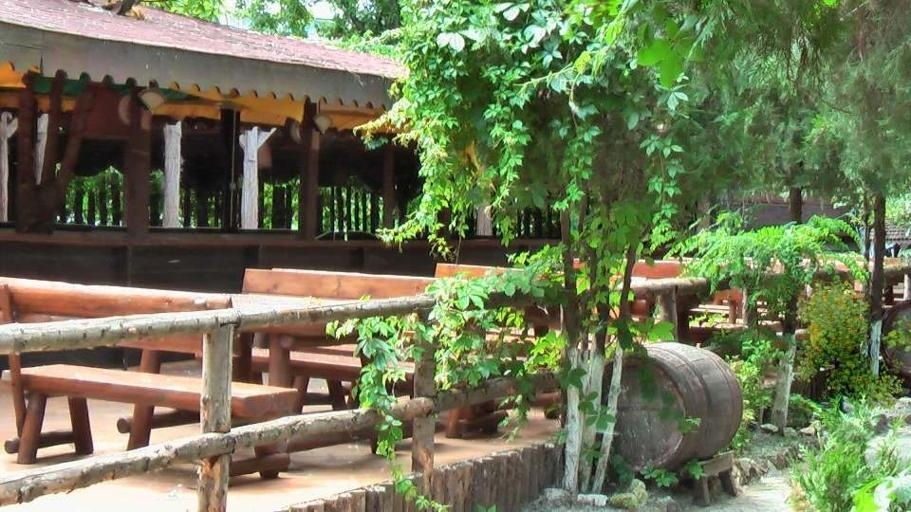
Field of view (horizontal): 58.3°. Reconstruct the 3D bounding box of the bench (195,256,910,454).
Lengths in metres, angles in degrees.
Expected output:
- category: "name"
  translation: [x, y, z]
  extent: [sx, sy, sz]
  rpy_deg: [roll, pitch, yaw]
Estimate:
- category: "bench"
  translation: [0.585, 0.913, 8.248]
  extent: [6.430, 1.543, 0.758]
  rpy_deg: [4, -4, -41]
